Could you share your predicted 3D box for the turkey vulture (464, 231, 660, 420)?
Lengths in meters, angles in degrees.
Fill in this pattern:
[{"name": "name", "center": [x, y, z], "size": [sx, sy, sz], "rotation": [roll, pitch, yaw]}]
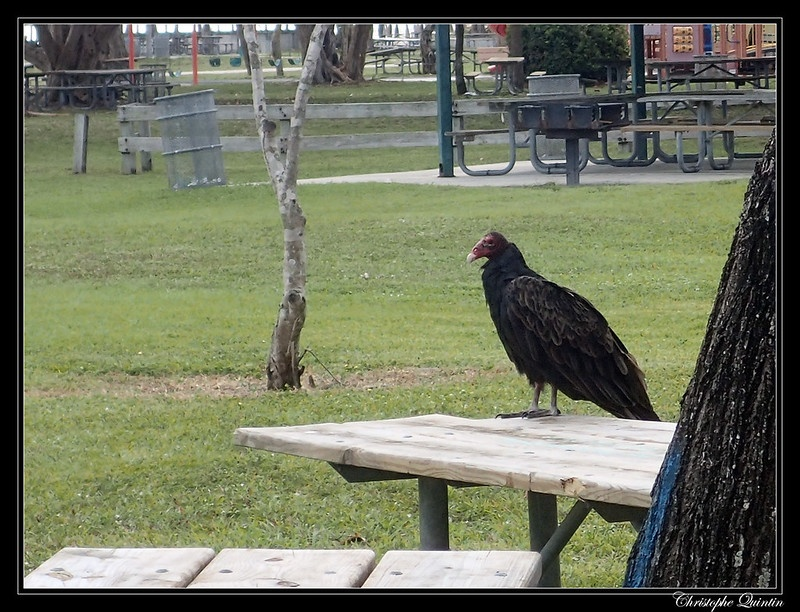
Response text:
[{"name": "turkey vulture", "center": [1.011, 0.161, 9.058], "size": [1.302, 1.006, 0.616], "rotation": [7, -12, -2]}]
